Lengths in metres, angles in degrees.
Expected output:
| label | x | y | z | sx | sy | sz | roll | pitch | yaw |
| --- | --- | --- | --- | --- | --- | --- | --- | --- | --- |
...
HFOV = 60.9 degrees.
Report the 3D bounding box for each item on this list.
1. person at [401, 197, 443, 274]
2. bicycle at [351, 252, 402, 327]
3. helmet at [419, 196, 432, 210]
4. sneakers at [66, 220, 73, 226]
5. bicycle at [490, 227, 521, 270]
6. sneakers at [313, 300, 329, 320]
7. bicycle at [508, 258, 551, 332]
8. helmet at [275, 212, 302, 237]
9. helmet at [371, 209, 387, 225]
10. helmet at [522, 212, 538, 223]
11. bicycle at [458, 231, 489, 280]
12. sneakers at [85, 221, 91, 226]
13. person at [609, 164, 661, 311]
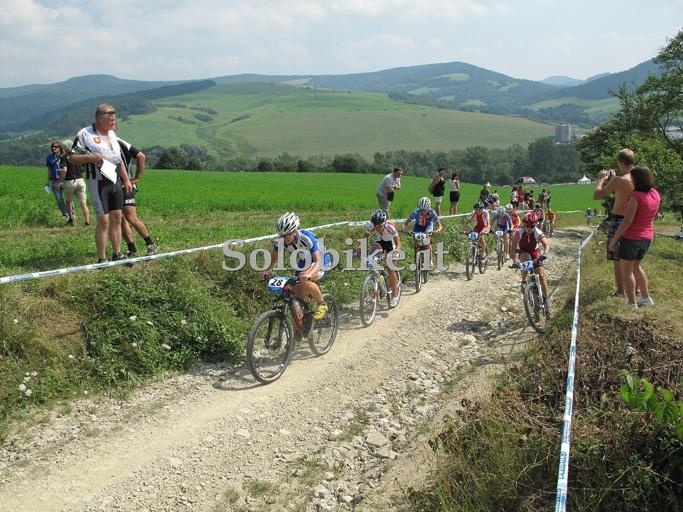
| label | x | y | z | sx | sy | sz | roll | pitch | yaw |
| --- | --- | --- | --- | --- | --- | --- | --- | --- | --- |
| person | 2.350 | -0.646 | 16.379 | 0.861 | 2.184 | 1.330 | -4 | 14 | 0 |
| bicycle | 0.894 | 0.737 | 14.042 | 0.466 | 1.690 | 1.759 | 1 | 16 | 21 |
| helmet | 2.285 | -1.430 | 15.876 | 0.278 | 0.395 | 0.451 | -4 | 15 | 2 |
| sneakers | -7.770 | -0.947 | 16.763 | 0.107 | 0.238 | 0.392 | 1 | 6 | -19 |
| bicycle | 5.542 | -0.314 | 19.983 | 1.050 | 1.461 | 2.272 | -1 | 6 | 21 |
| sneakers | -0.399 | 1.105 | 11.500 | 0.153 | 0.217 | 0.459 | 2 | 11 | 18 |
| bicycle | 4.255 | 0.865 | 12.913 | 1.150 | 1.729 | 0.588 | -16 | 18 | -37 |
| helmet | -0.945 | -0.590 | 10.675 | 0.334 | 0.282 | 0.509 | 3 | 19 | 15 |
| helmet | 0.888 | -0.879 | 13.547 | 0.314 | 0.344 | 0.340 | -4 | 15 | 0 |
| helmet | 4.255 | -0.853 | 13.163 | 0.316 | 0.230 | 0.502 | -2 | 11 | 18 |
| bicycle | 4.282 | 0.029 | 18.465 | 0.743 | 1.054 | 1.601 | -3 | 2 | 24 |
| sneakers | -7.163 | -0.919 | 16.492 | 0.108 | 0.119 | 0.118 | 3 | 0 | 8 |
| person | 5.837 | -0.360 | 11.567 | 0.765 | 2.785 | 0.636 | -11 | 15 | -26 |
